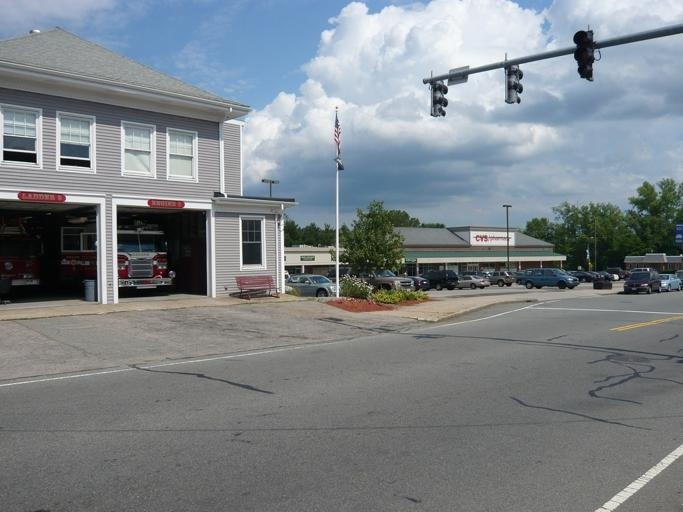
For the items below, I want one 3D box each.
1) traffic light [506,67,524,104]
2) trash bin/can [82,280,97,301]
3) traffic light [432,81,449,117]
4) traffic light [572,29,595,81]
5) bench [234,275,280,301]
[{"bbox_3d":[4.843,-4.783,16.939,0.424,0.987,0.288,1,0,4],"label":"traffic light"},{"bbox_3d":[-9.447,1.305,22.911,0.723,0.728,0.715,0,-3,-9],"label":"trash bin/can"},{"bbox_3d":[2.894,-4.685,18.131,0.468,0.961,0.505,1,0,8],"label":"traffic light"},{"bbox_3d":[6.087,-4.977,15.131,0.483,1.271,0.517,1,0,19],"label":"traffic light"},{"bbox_3d":[-3.585,1.289,26.194,1.249,0.765,2.412,1,0,34],"label":"bench"}]
